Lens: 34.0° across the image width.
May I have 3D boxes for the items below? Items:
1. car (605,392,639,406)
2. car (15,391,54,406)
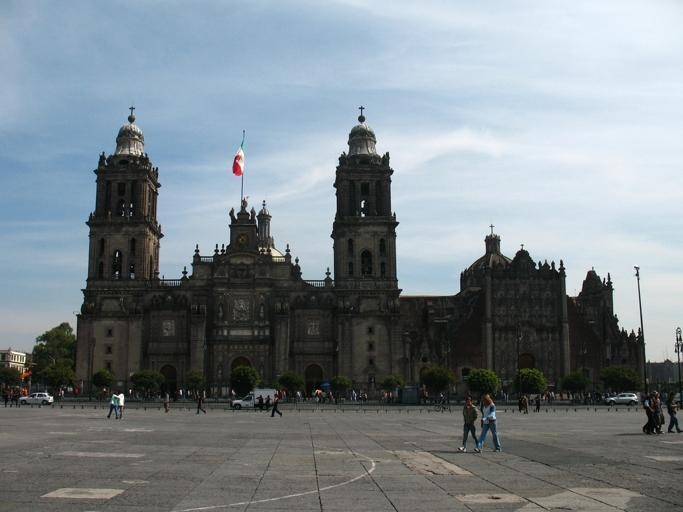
[{"bbox_3d":[24.344,12.131,96.900,2.820,1.094,1.309,1,-10,2],"label":"car"},{"bbox_3d":[-26.332,12.080,96.317,2.293,1.175,4.110,5,-12,-32],"label":"car"}]
